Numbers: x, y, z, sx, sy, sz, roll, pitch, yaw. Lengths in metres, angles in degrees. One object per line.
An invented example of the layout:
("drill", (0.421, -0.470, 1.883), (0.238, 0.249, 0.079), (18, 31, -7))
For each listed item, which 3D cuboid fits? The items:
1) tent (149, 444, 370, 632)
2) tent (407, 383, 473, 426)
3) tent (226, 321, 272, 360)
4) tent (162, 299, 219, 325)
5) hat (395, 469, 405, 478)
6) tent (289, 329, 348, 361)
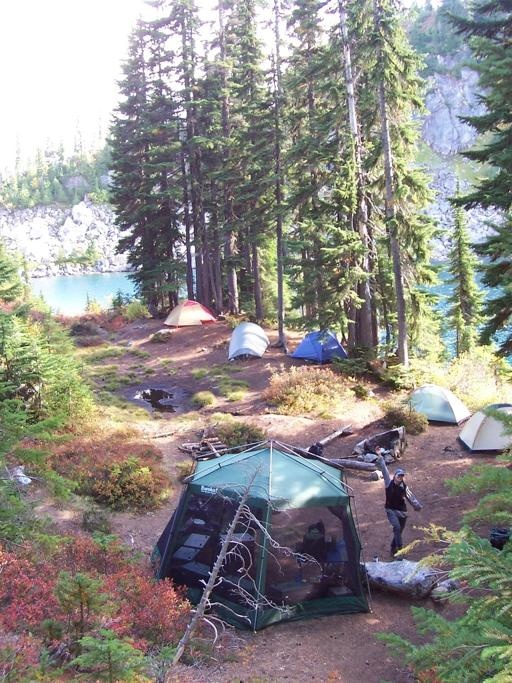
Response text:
("tent", (0.308, 3.055, 9.886), (3.166, 1.823, 3.041), (6, 8, 31))
("tent", (5.446, 1.894, 17.902), (1.712, 1.044, 0.987), (-1, 5, 17))
("tent", (-0.443, -0.020, 27.864), (1.666, 1.684, 1.758), (-1, 5, 15))
("tent", (-3.875, -1.631, 34.488), (2.962, 1.486, 1.202), (-1, 5, 17))
("hat", (2.572, 2.337, 10.665), (0.191, 0.133, 0.267), (17, -12, 2))
("tent", (2.587, 0.159, 25.426), (1.552, 0.774, 1.564), (2, 4, 35))
